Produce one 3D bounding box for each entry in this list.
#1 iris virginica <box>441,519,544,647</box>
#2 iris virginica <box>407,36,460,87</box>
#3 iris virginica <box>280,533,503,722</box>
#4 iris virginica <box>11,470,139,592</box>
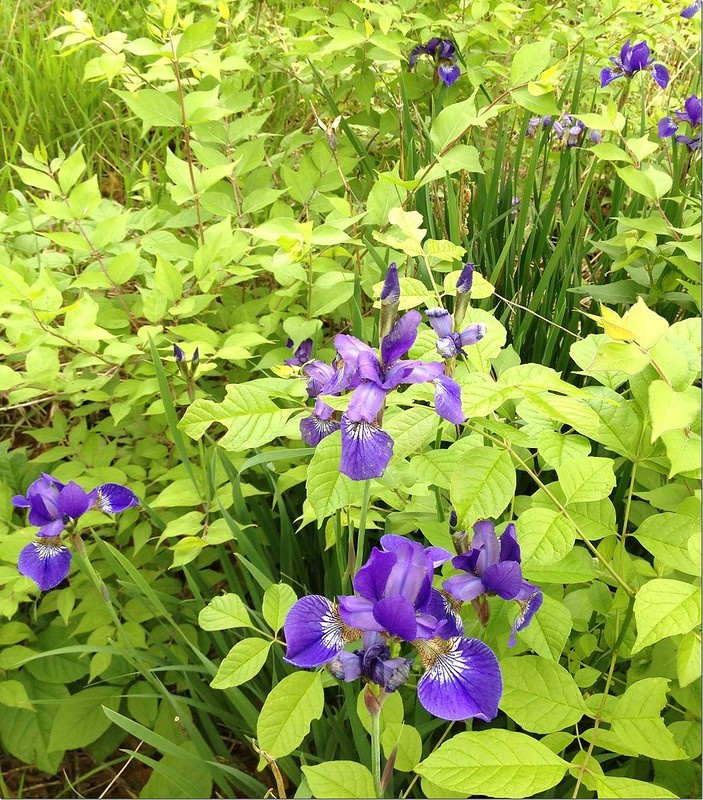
[{"bbox_3d":[0.204,0.283,1.116,0.171,0.193,0.199,-2,-4,-43],"label":"iris virginica"},{"bbox_3d":[0.317,-1.325,2.592,0.200,0.163,0.289,5,29,3],"label":"iris virginica"},{"bbox_3d":[0.082,0.318,0.947,0.245,0.233,0.316,-2,12,6],"label":"iris virginica"},{"bbox_3d":[-0.656,0.262,1.564,0.244,0.310,0.154,-23,-14,5],"label":"iris virginica"}]
